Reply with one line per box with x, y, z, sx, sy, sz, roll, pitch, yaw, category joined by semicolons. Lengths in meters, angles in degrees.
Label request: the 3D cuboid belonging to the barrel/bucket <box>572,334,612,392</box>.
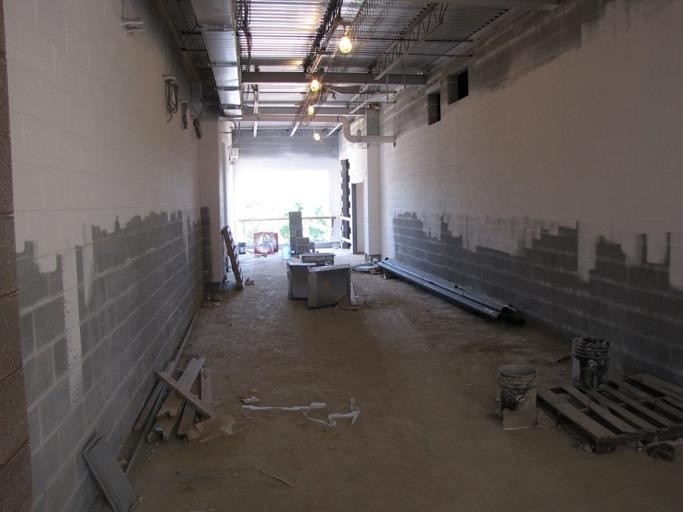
2.504;1.079;4.655;0.407;0.482;0.401;0;4;0;barrel/bucket

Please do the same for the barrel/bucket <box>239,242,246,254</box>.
-3.504;-0.262;15.930;0.326;0.471;0.347;0;8;0;barrel/bucket

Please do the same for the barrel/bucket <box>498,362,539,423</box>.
1.614;1.233;4.192;0.337;0.443;0.361;-5;0;0;barrel/bucket
